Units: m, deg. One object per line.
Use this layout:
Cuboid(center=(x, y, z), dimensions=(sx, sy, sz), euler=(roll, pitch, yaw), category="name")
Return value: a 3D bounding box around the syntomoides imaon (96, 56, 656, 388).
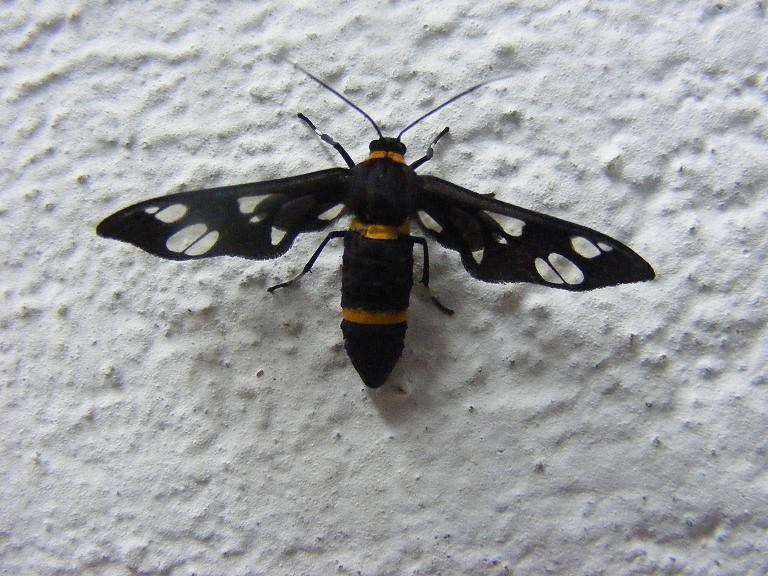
Cuboid(center=(-0.002, -0.150, 2.197), dimensions=(1.050, 0.238, 0.825), euler=(41, 83, 7), category="syntomoides imaon")
